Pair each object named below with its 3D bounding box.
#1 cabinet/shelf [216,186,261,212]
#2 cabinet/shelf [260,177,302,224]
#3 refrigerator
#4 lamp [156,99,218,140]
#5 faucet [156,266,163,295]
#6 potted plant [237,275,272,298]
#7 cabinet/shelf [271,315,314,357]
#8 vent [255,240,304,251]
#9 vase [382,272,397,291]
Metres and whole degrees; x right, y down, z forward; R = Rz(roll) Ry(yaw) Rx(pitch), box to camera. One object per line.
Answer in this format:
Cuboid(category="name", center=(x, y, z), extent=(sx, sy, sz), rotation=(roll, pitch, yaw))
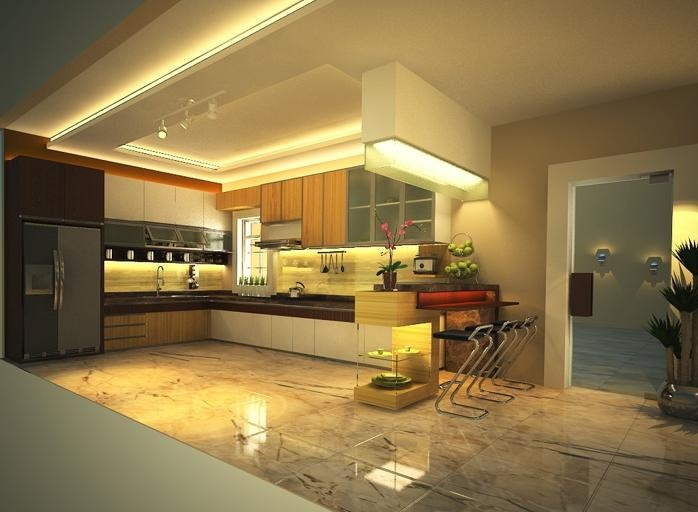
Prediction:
Cuboid(category="cabinet/shelf", center=(-2.249, -1.196, 9.277), extent=(1.312, 0.461, 0.260), rotation=(2, 3, 37))
Cuboid(category="cabinet/shelf", center=(-1.203, -1.050, 8.642), extent=(0.991, 0.771, 0.336), rotation=(-4, -7, 28))
Cuboid(category="refrigerator", center=(-4.390, 0.532, 6.837), extent=(1.008, 2.052, 0.300), rotation=(-1, 3, -35))
Cuboid(category="lamp", center=(-2.311, -1.969, 6.352), extent=(1.188, 0.486, 0.285), rotation=(-10, -1, 30))
Cuboid(category="faucet", center=(-3.754, 0.466, 8.856), extent=(0.065, 0.569, 0.165), rotation=(2, 3, 23))
Cuboid(category="potted plant", center=(-1.938, 0.629, 9.210), extent=(0.329, 0.420, 1.041), rotation=(-1, 3, -42))
Cuboid(category="cabinet/shelf", center=(-0.824, 1.430, 8.079), extent=(0.565, 0.696, 1.065), rotation=(0, -6, 44))
Cuboid(category="vent", center=(-1.299, -0.217, 8.508), extent=(0.329, 0.167, 1.175), rotation=(-1, 3, -42))
Cuboid(category="vase", center=(0.473, 0.296, 5.154), extent=(0.196, 0.239, 0.185), rotation=(1, -10, -2))
